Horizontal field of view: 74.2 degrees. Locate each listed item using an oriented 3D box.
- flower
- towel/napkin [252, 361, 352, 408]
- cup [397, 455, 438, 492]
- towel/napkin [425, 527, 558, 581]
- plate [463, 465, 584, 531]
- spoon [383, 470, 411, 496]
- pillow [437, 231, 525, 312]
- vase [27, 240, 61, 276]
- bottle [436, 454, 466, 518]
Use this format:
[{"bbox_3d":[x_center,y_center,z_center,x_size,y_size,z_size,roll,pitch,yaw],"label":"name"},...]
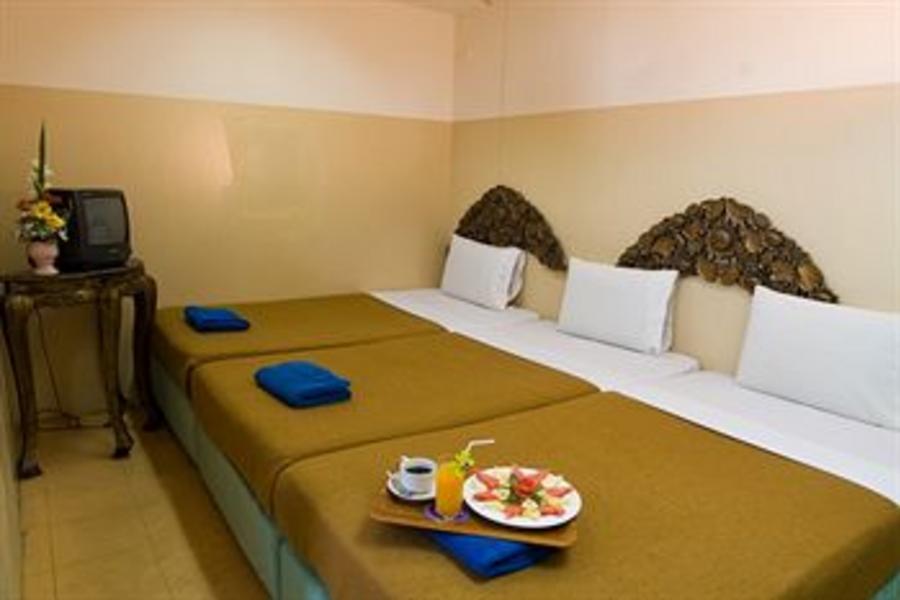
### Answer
[{"bbox_3d":[-2.279,-0.649,3.249,0.250,0.648,0.580,-8,16,-33],"label":"flower"},{"bbox_3d":[-0.712,0.374,2.767,0.232,0.086,0.298,-5,14,-33],"label":"towel/napkin"},{"bbox_3d":[-0.112,0.605,2.038,0.127,0.106,0.086,1,13,2],"label":"cup"},{"bbox_3d":[0.123,0.796,1.866,0.407,0.092,0.125,2,13,5],"label":"towel/napkin"},{"bbox_3d":[0.226,0.669,1.992,0.230,0.056,0.228,8,12,35],"label":"plate"},{"bbox_3d":[-0.185,0.643,2.056,0.042,0.018,0.153,-11,16,-14],"label":"spoon"},{"bbox_3d":[0.249,-0.191,4.280,0.095,0.366,0.511,12,5,-45],"label":"pillow"},{"bbox_3d":[-2.148,-0.216,3.119,0.168,0.193,0.162,-1,3,-23],"label":"vase"},{"bbox_3d":[-0.003,0.615,1.940,0.081,0.189,0.048,0,13,1],"label":"bottle"}]
